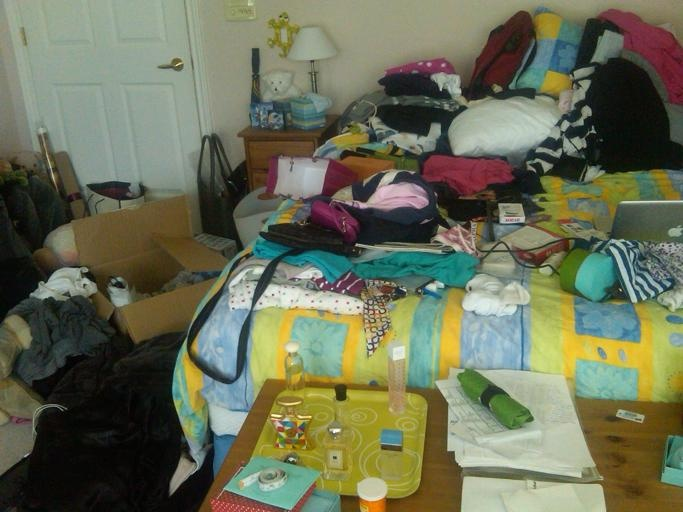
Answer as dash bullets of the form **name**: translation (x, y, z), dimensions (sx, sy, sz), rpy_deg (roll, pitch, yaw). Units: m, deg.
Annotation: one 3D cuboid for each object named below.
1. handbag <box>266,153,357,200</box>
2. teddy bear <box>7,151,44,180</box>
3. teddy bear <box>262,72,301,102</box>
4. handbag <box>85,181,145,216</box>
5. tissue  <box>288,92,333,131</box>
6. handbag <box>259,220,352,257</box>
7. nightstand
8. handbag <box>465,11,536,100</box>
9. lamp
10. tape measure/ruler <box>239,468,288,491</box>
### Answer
- **handbag**: translation (-0.155, -0.380, 2.597), dimensions (0.380, 0.213, 0.123), rpy_deg (7, -3, 27)
- **teddy bear**: translation (-2.005, -0.572, 3.319), dimensions (0.249, 0.154, 0.240), rpy_deg (-4, 37, -28)
- **teddy bear**: translation (-0.423, -1.155, 3.619), dimensions (0.234, 0.078, 0.218), rpy_deg (-2, 27, 2)
- **handbag**: translation (-1.436, -0.362, 3.311), dimensions (0.315, 0.213, 0.247), rpy_deg (18, 29, 26)
- **tissue **: translation (-0.205, -0.959, 3.469), dimensions (0.280, 0.204, 0.220), rpy_deg (12, 25, 37)
- **handbag**: translation (-0.129, -0.067, 1.925), dimensions (0.179, 0.044, 0.199), rpy_deg (9, 13, 14)
- **nightstand**: translation (-0.397, -0.684, 3.638), dimensions (0.577, 0.489, 0.405), rpy_deg (8, 38, 10)
- **handbag**: translation (0.951, -1.181, 3.121), dimensions (0.169, 0.515, 0.418), rpy_deg (23, -1, -24)
- **lamp**: translation (-0.188, -1.307, 3.475), dimensions (0.318, 0.430, 0.310), rpy_deg (-2, 21, 2)
- **tape measure/ruler**: translation (-0.176, 0.487, 1.163), dimensions (0.055, 0.019, 0.064), rpy_deg (6, 12, 39)
